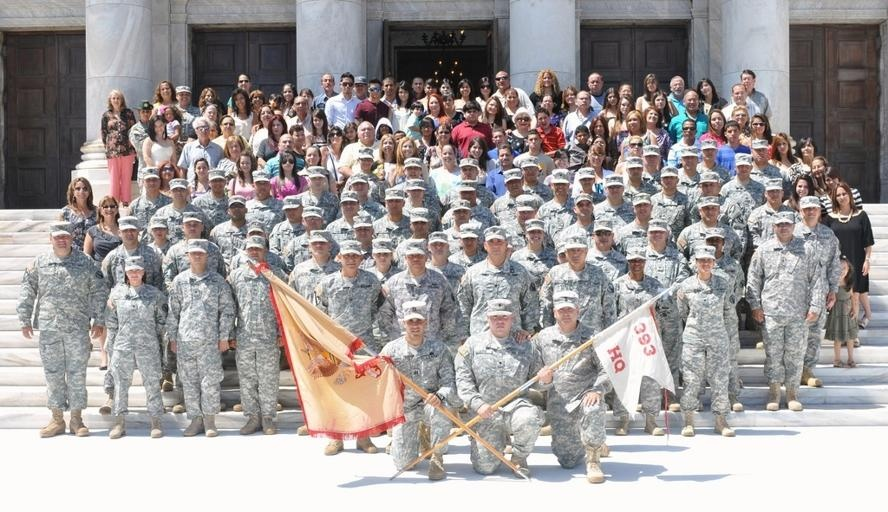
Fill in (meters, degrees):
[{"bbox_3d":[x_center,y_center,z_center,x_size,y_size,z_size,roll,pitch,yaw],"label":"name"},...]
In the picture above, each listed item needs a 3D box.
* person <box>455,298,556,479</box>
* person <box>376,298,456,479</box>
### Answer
[{"bbox_3d":[1.086,2.572,38.716,1.715,3.392,0.670,-1,3,1],"label":"person"},{"bbox_3d":[-0.473,2.563,38.819,1.385,3.281,0.670,-1,3,-2],"label":"person"}]
